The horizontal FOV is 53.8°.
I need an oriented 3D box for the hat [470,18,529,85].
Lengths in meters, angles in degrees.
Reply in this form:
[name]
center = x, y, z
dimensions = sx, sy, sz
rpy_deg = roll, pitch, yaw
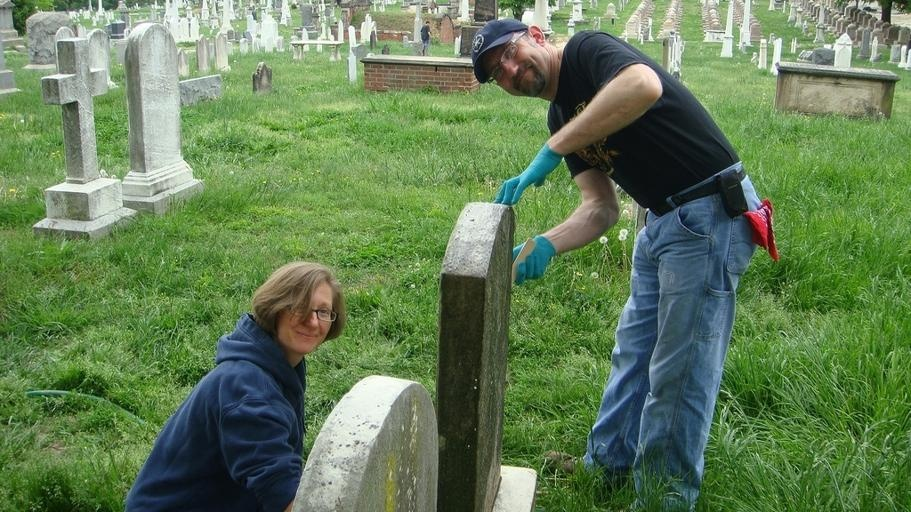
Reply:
[hat]
center = 0.406, -1.902, 8.261
dimensions = 0.487, 0.570, 0.210
rpy_deg = 0, 10, 0
